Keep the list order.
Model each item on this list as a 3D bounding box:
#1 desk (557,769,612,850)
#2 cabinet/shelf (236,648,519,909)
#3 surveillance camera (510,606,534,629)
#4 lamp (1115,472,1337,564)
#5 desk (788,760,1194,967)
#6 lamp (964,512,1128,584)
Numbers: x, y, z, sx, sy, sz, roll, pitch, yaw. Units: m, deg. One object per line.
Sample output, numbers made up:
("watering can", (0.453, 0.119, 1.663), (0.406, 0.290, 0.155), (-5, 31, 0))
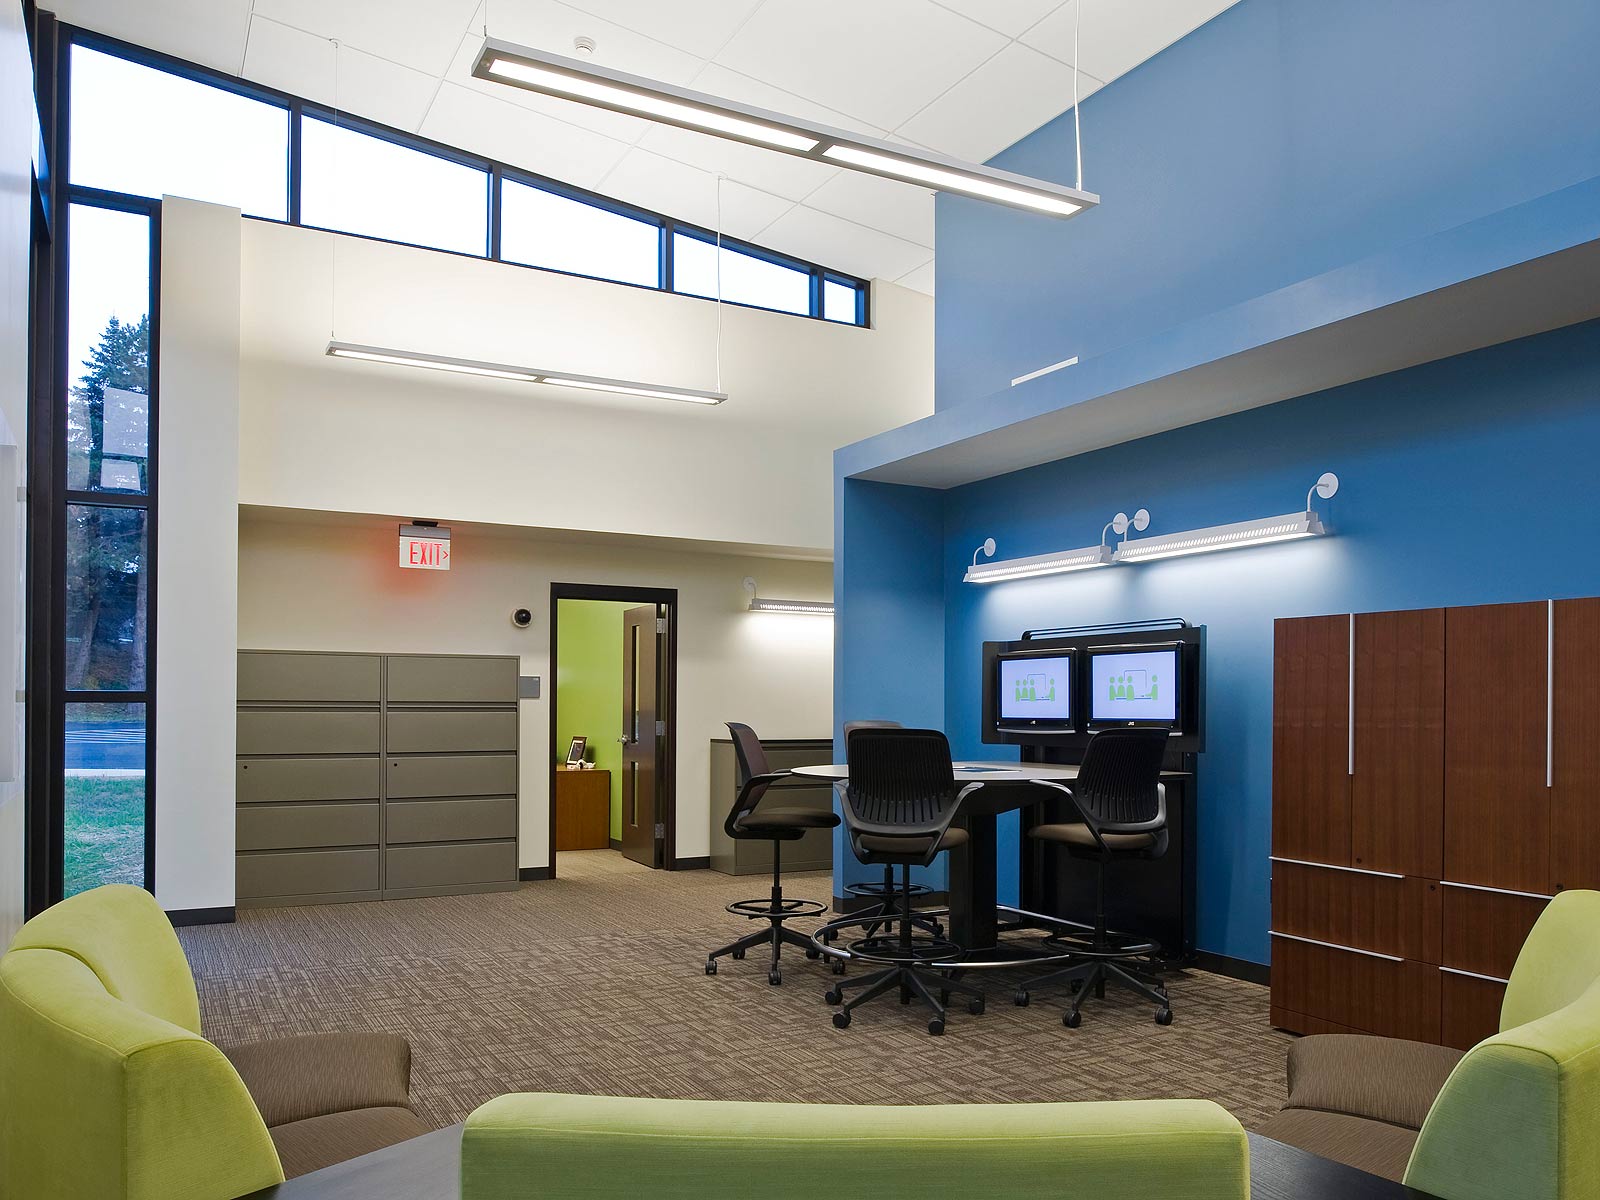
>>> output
("desk", (-2.065, 1.992, 10.896), (0.669, 0.677, 0.363), (4, -8, -26))
("cabinet/shelf", (-3.101, 1.295, 8.241), (1.648, 1.511, 0.545), (2, -6, -27))
("surveillance camera", (-2.224, 0.142, 9.242), (0.144, 0.118, 0.150), (8, 11, 30))
("lamp", (2.248, -0.421, 6.069), (1.117, 0.286, 0.220), (-8, -10, 24))
("desk", (0.990, 1.242, 6.214), (1.342, 0.881, 1.324), (3, -4, -37))
("lamp", (1.525, -0.304, 7.284), (0.308, 0.342, 1.397), (1, -3, -33))
